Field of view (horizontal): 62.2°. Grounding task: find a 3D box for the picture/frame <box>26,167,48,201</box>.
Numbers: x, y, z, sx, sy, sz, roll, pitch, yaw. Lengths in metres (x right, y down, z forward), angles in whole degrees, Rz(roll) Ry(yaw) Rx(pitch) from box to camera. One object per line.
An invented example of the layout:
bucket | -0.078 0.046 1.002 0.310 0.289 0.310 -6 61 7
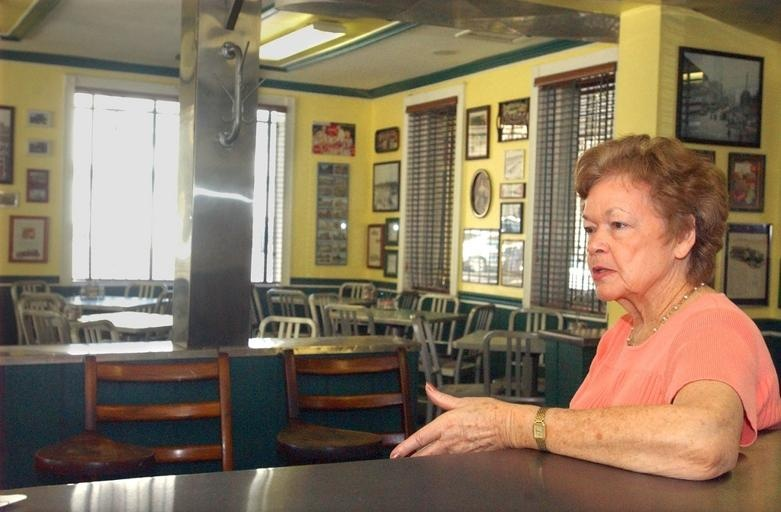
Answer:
picture/frame | -3.743 -0.746 6.876 0.216 0.391 0.044 -3 1 -23

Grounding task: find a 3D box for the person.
person | 0.409 0.129 1.733 1.051 0.669 0.715 2 -6 -6

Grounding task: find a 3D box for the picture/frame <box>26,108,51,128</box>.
picture/frame | -3.745 -1.467 6.858 0.257 0.165 0.018 1 -6 -26

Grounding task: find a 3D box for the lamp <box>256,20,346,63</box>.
lamp | -0.965 -2.195 6.672 0.540 0.122 1.472 -3 1 -38

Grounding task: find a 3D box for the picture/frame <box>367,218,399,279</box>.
picture/frame | -0.077 -0.089 8.138 0.071 0.779 0.847 4 -1 -35

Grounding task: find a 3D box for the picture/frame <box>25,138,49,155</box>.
picture/frame | -3.748 -1.168 6.827 0.224 0.143 0.009 0 -1 -31
